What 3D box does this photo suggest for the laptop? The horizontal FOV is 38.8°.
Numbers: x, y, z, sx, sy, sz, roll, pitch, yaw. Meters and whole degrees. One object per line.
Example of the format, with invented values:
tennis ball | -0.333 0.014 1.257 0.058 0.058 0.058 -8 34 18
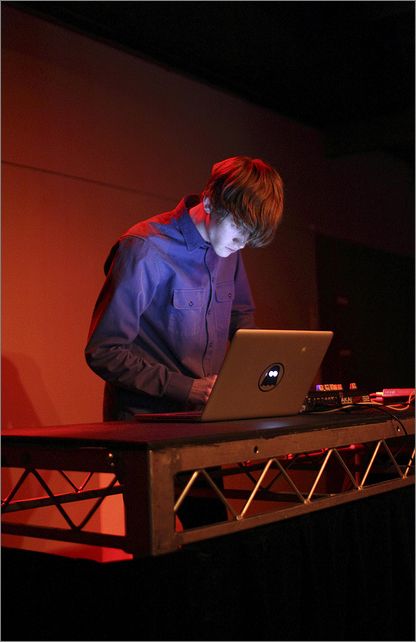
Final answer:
laptop | 0.106 0.119 1.289 0.273 0.159 0.292 -2 -7 39
